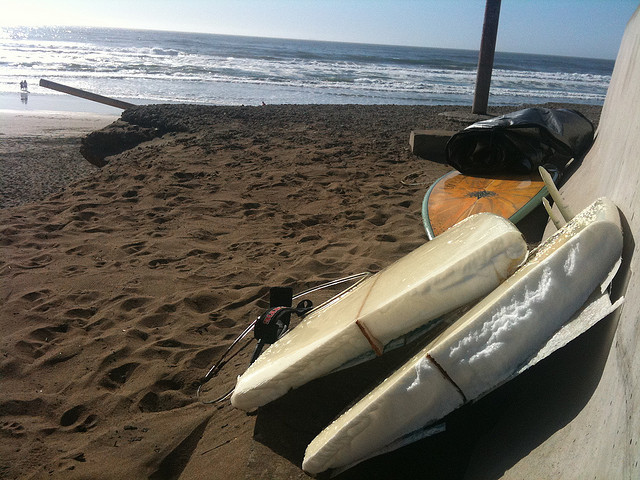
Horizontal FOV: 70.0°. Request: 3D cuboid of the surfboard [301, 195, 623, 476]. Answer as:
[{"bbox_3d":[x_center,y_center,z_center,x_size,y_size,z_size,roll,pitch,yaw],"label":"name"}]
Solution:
[{"bbox_3d":[0.298,0.329,1.601,1.001,0.209,0.954,-32,-1,-27],"label":"surfboard"}]
